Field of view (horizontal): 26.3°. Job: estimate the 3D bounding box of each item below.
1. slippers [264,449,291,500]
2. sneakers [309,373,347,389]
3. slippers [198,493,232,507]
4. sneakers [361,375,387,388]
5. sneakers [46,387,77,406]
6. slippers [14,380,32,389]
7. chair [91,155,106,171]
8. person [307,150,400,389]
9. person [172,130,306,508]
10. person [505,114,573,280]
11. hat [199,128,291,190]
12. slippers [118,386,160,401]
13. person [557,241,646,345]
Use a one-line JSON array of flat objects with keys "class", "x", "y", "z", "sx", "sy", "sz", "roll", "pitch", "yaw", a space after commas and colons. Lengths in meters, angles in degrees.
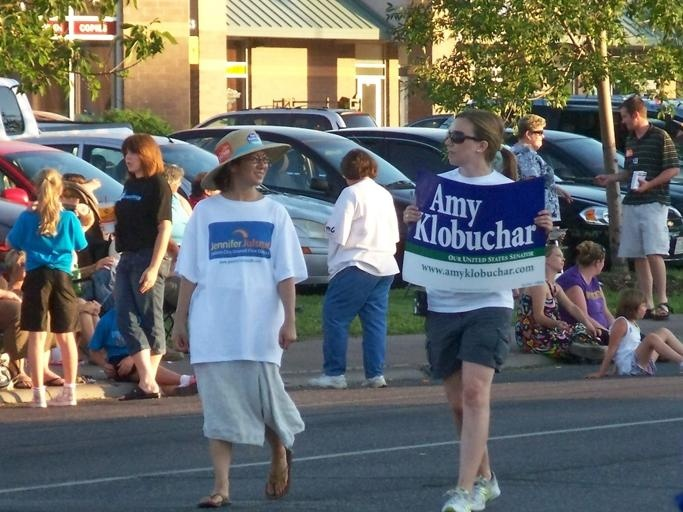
[{"class": "slippers", "x": -0.512, "y": 1.799, "z": 11.885, "sx": 0.167, "sy": 0.426, "sz": 0.101, "roll": 10, "pitch": -3, "yaw": -13}, {"class": "sneakers", "x": -0.128, "y": 1.323, "z": 15.252, "sx": 0.417, "sy": 0.174, "sz": 0.151, "roll": 3, "pitch": 2, "yaw": 12}, {"class": "slippers", "x": -1.025, "y": 1.966, "z": 11.705, "sx": 0.197, "sy": 0.059, "sz": 0.110, "roll": 3, "pitch": 1, "yaw": -12}, {"class": "sneakers", "x": 0.333, "y": 1.334, "z": 15.309, "sx": 0.265, "sy": 0.122, "sz": 0.105, "roll": 2, "pitch": 3, "yaw": 21}, {"class": "sneakers", "x": -2.797, "y": 1.390, "z": 14.576, "sx": 0.285, "sy": 0.206, "sz": 0.268, "roll": -1, "pitch": 5, "yaw": -7}, {"class": "slippers", "x": -3.274, "y": 1.329, "z": 14.921, "sx": 0.189, "sy": 0.075, "sz": 0.066, "roll": 2, "pitch": 4, "yaw": 2}, {"class": "chair", "x": -3.254, "y": -1.245, "z": 19.485, "sx": 0.186, "sy": 0.197, "sz": 0.231, "roll": 1, "pitch": -17, "yaw": -13}, {"class": "person", "x": 0.172, "y": 0.153, "z": 15.144, "sx": 0.779, "sy": 2.488, "sz": 0.520, "roll": -3, "pitch": 5, "yaw": -31}, {"class": "person", "x": -0.825, "y": 0.506, "z": 11.839, "sx": 1.026, "sy": 3.021, "sz": 0.550, "roll": -1, "pitch": 4, "yaw": -6}, {"class": "person", "x": 2.509, "y": -0.806, "z": 18.085, "sx": 0.720, "sy": 1.837, "sz": 0.658, "roll": 0, "pitch": 18, "yaw": 10}, {"class": "hat", "x": -0.804, "y": -0.867, "z": 11.956, "sx": 0.562, "sy": 0.219, "sz": 0.559, "roll": -26, "pitch": -4, "yaw": 23}, {"class": "slippers", "x": -2.048, "y": 1.386, "z": 14.694, "sx": 0.400, "sy": 0.121, "sz": 0.157, "roll": 2, "pitch": -2, "yaw": -1}, {"class": "person", "x": 2.875, "y": 0.366, "z": 16.696, "sx": 1.075, "sy": 1.235, "sz": 0.797, "roll": 3, "pitch": 6, "yaw": 16}]
